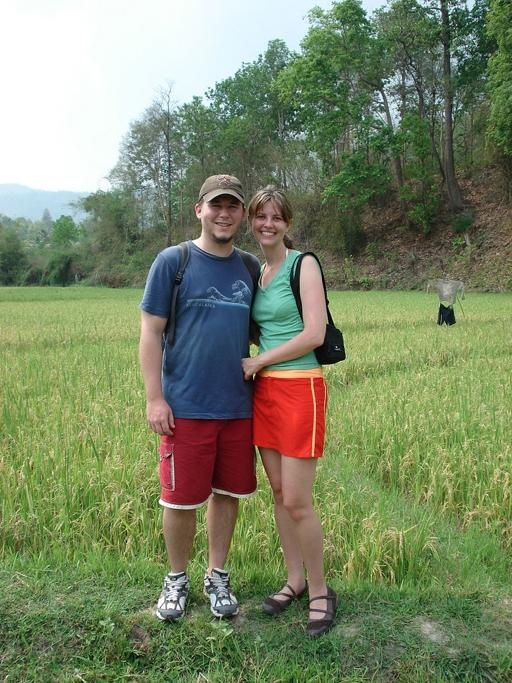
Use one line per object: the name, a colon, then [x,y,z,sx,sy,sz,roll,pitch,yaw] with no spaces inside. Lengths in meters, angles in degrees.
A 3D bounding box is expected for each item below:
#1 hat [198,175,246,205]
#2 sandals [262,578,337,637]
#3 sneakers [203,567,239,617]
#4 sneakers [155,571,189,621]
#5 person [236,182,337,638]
hat: [-0.179,-0.762,2.929,0.152,0.122,0.220,1,-5,-4]
sandals: [0.269,1.233,2.696,0.198,0.057,0.197,2,11,44]
sneakers: [-0.169,1.224,2.802,0.089,0.122,0.256,-2,-4,-12]
sneakers: [-0.403,1.227,2.776,0.132,0.184,0.247,1,9,-1]
person: [0.163,0.288,2.810,0.404,2.079,0.756,-2,9,-17]
